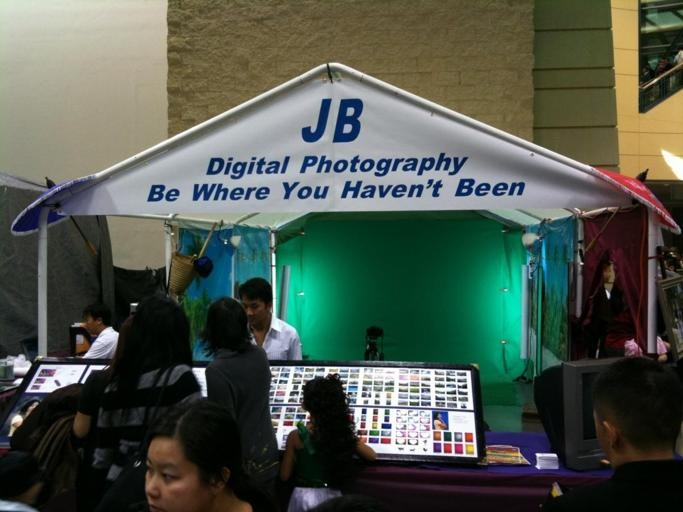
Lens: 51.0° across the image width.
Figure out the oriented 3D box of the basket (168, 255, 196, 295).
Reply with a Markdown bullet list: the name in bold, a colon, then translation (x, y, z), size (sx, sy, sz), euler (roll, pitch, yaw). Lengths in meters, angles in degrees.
- **basket**: translation (-1.519, 0.160, 6.764), size (0.245, 0.333, 0.222), euler (24, 3, -27)

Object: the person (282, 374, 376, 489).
- **person**: translation (-0.168, 1.305, 5.286), size (0.569, 0.824, 0.209), euler (0, -5, -6)
